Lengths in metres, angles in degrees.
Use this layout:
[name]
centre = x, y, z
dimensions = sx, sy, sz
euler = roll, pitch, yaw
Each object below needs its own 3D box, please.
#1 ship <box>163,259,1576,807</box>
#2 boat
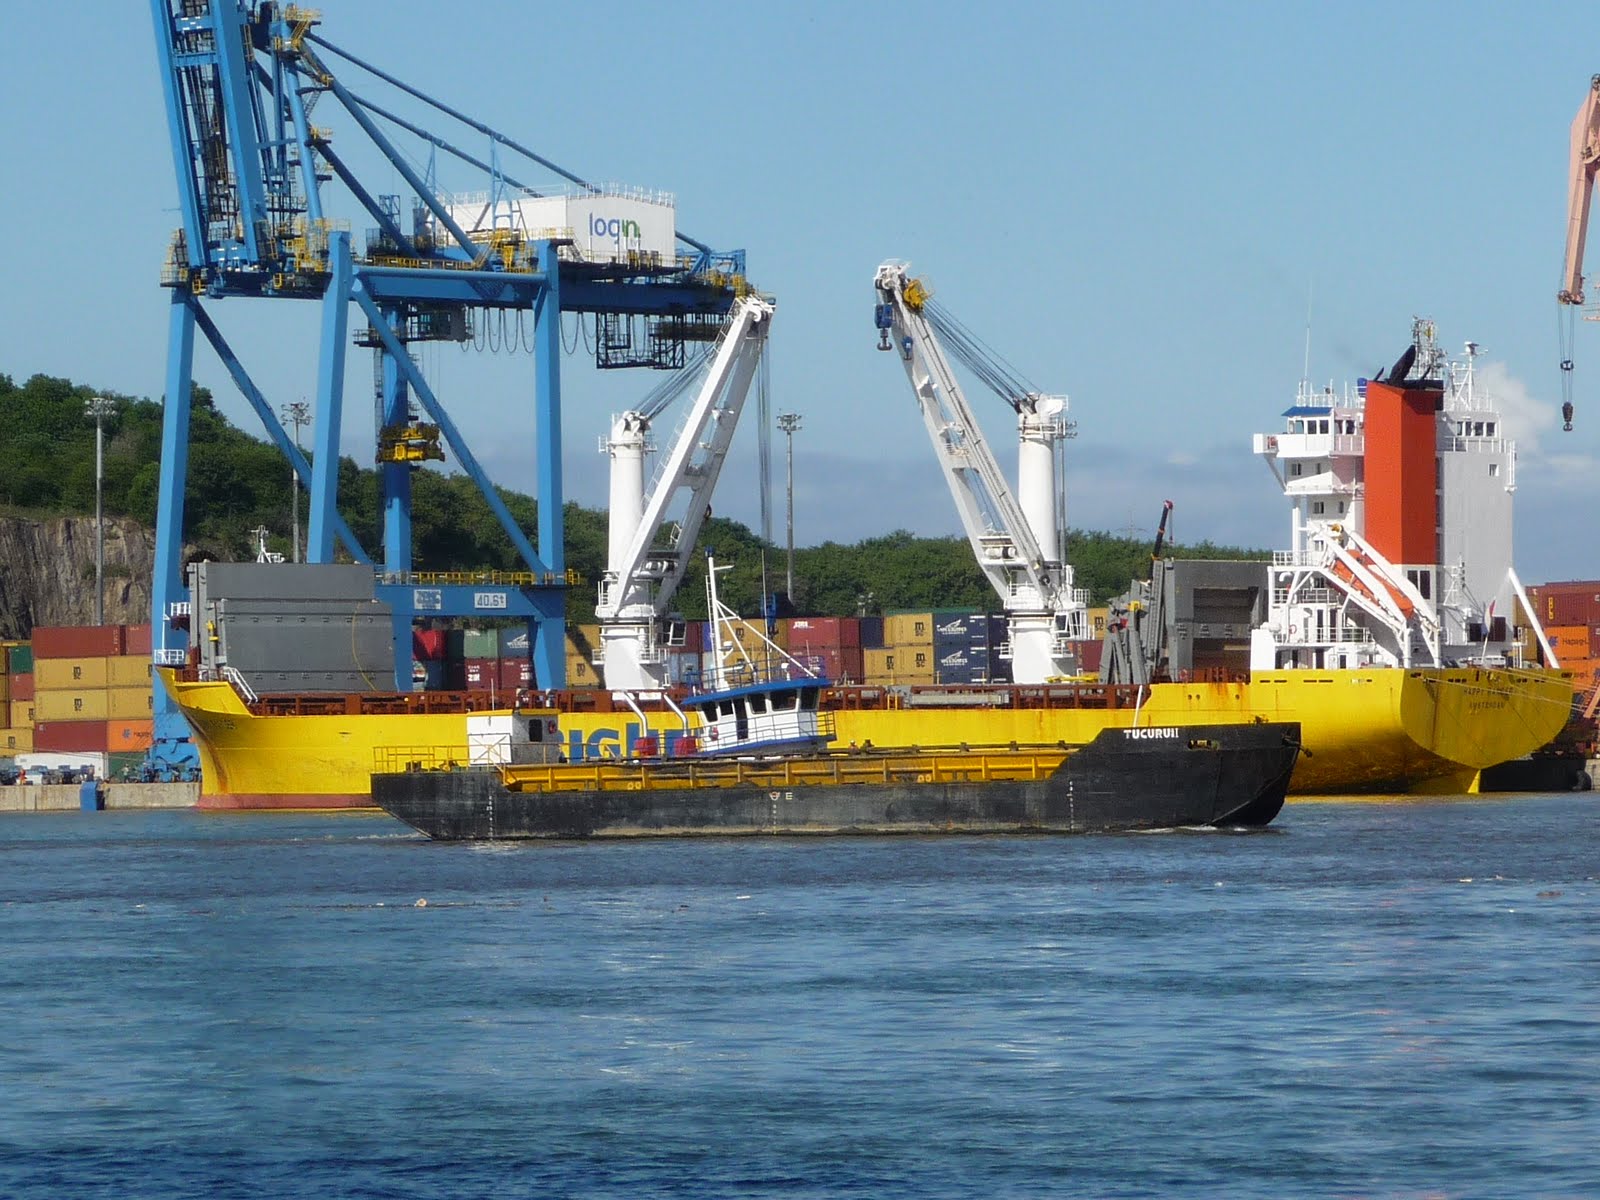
[ship]
centre = 0.518, -1.887, 131.888
dimensions = 37.091, 14.767, 10.459
euler = 0, 10, 6
[boat]
centre = 0.432, 2.262, 118.376
dimensions = 22.786, 6.867, 4.885
euler = -1, 9, 6
